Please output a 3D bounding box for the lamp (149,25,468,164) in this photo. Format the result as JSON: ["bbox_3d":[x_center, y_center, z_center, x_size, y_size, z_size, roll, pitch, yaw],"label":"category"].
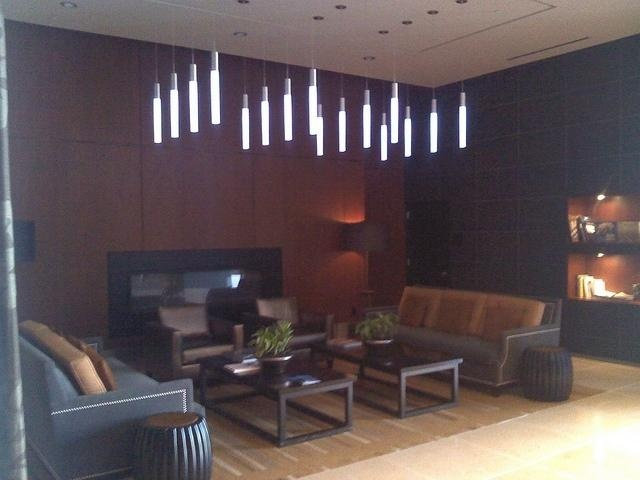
[{"bbox_3d":[0.044,-1.851,7.642,4.937,1.490,2.629,-8,11,-43],"label":"lamp"}]

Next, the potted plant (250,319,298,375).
[{"bbox_3d":[-0.426,1.072,5.554,0.442,0.510,0.454,-7,5,-12],"label":"potted plant"}]

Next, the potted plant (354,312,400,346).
[{"bbox_3d":[0.611,0.979,6.242,0.438,0.327,0.461,0,-6,-10],"label":"potted plant"}]
